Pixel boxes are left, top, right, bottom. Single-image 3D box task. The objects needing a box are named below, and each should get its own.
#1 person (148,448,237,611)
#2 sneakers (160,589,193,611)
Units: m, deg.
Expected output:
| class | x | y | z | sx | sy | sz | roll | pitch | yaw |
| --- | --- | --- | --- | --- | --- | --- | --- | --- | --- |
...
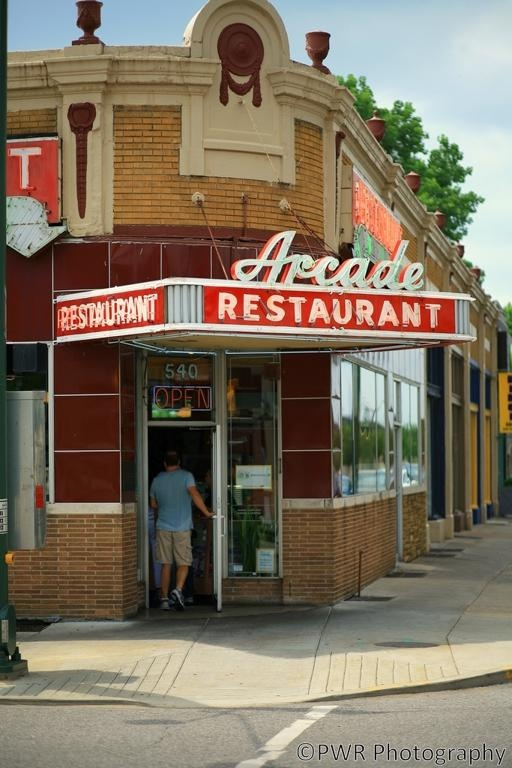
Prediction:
| class | x | y | z | sx | sy | sz | roll | pitch | yaw |
| --- | --- | --- | --- | --- | --- | --- | --- | --- | --- |
| person | -0.932 | 1.707 | 14.270 | 0.773 | 1.821 | 0.422 | -4 | -5 | 37 |
| sneakers | -0.918 | 2.554 | 14.225 | 0.163 | 0.241 | 0.472 | -6 | -25 | 14 |
